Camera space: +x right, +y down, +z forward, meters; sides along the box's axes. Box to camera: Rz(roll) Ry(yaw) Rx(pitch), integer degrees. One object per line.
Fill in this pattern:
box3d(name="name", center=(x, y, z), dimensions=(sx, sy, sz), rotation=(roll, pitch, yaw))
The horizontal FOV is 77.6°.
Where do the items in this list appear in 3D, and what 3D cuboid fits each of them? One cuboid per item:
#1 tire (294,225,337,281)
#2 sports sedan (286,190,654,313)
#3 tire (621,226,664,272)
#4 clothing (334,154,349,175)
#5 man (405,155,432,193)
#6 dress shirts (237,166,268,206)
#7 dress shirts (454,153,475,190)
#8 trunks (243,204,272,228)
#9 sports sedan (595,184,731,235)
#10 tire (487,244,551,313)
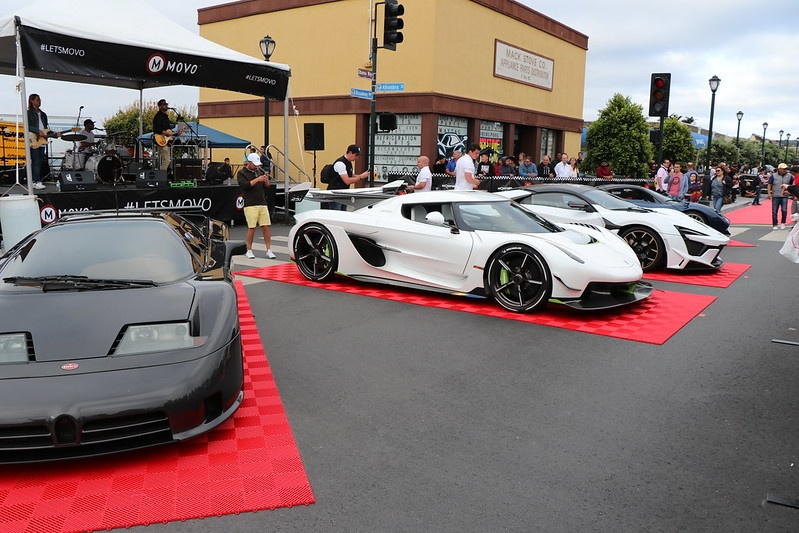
box3d(name="tire", center=(-1.505, -0.284, 9.019), dimensions=(0.835, 1.063, 0.343), rotation=(-3, 4, 32))
box3d(name="sports sedan", center=(1.061, -0.792, 8.234), dimensions=(4.410, 1.440, 2.497), rotation=(8, 12, 28))
box3d(name="tire", center=(4.659, -0.364, 9.477), dimensions=(0.696, 0.793, 0.277), rotation=(12, 5, 28))
box3d(name="clothing", center=(-1.423, -2.441, 12.064), dimensions=(0.312, 0.417, 0.255), rotation=(-6, 14, -24))
box3d(name="man", center=(0.459, -2.171, 11.606), dimensions=(0.488, 0.766, 1.081), rotation=(0, 14, 1))
box3d(name="dress shirts", center=(-3.095, -1.694, 10.463), dimensions=(0.562, 0.836, 0.423), rotation=(-4, 13, -16))
box3d(name="dress shirts", center=(1.553, -2.272, 11.867), dimensions=(0.392, 0.802, 0.699), rotation=(1, 13, 5))
box3d(name="trunks", center=(-3.098, -1.103, 10.670), dimensions=(0.659, 0.713, 0.387), rotation=(-8, 11, -37))
box3d(name="sports sedan", center=(6.813, -1.584, 12.492), dimensions=(2.813, 0.911, 1.707), rotation=(5, 20, 10))
box3d(name="tire", center=(1.805, 0.139, 7.368), dimensions=(0.765, 0.870, 0.304), rotation=(13, 10, 32))
